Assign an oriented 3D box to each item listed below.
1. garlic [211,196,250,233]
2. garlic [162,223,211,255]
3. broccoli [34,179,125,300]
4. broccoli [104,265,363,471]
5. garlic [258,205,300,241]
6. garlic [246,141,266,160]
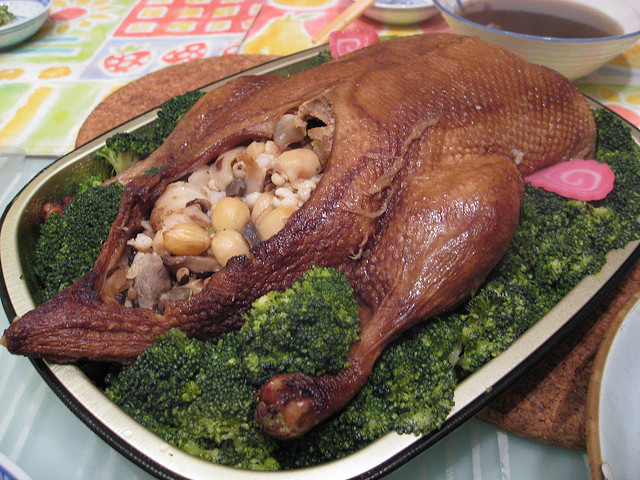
[{"bbox_3d":[-0.411,-0.116,2.939,0.152,0.140,0.192,27,76,-25],"label":"garlic"},{"bbox_3d":[-0.589,-0.007,2.804,0.206,0.093,0.120,-5,55,-1],"label":"garlic"},{"bbox_3d":[-1.168,-0.011,3.016,0.366,0.168,0.582,-8,57,38],"label":"broccoli"},{"bbox_3d":[-0.332,0.532,2.690,1.006,0.306,0.722,-45,73,-1],"label":"broccoli"},{"bbox_3d":[-0.187,-0.085,2.852,0.167,0.132,0.096,-41,80,-13],"label":"garlic"},{"bbox_3d":[-0.301,-0.431,2.970,0.072,0.030,0.087,1,65,0],"label":"garlic"}]
